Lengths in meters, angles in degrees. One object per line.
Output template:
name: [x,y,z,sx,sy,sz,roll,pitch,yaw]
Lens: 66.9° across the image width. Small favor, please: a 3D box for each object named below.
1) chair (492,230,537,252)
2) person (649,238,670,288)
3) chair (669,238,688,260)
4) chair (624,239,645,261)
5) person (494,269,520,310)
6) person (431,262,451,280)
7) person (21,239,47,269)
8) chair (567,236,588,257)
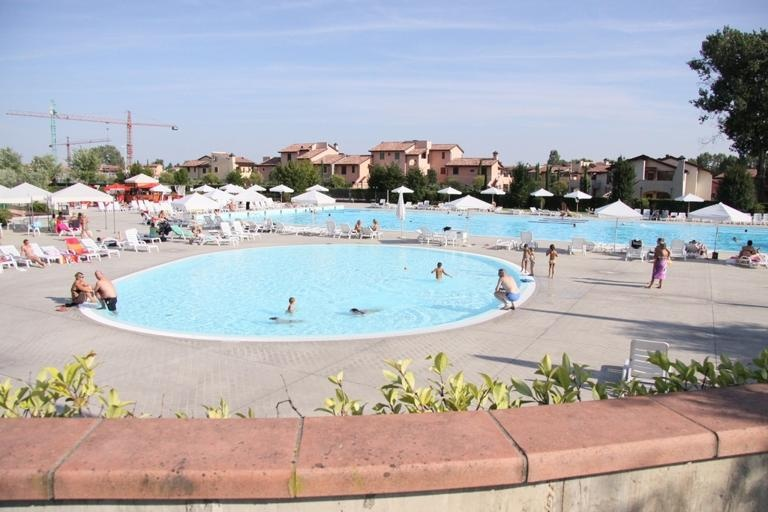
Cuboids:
chair: [5.597,-0.584,24.296,1.012,0.680,1.788,2,2,42]
person: [7.649,0.132,16.244,0.437,1.304,1.770,5,11,26]
chair: [10.856,-0.209,21.583,0.702,0.774,0.946,0,4,26]
chair: [9.444,-0.245,21.945,0.712,0.870,0.955,0,2,23]
person: [2.898,0.775,13.760,0.670,0.934,0.671,-7,5,4]
person: [1.919,0.521,19.718,0.537,0.748,0.236,6,55,15]
person: [-11.115,-0.119,18.539,0.596,0.839,0.751,-6,11,-30]
chair: [7.626,-0.431,22.986,0.552,0.581,0.930,2,11,14]
